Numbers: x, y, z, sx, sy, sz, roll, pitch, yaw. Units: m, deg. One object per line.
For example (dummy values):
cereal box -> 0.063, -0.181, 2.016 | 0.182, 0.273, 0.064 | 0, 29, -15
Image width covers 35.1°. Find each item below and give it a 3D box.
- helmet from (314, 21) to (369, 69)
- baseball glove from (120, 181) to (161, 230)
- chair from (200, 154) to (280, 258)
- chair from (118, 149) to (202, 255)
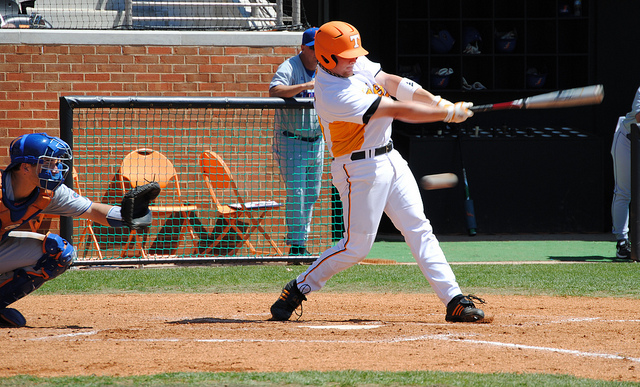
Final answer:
helmet -> 0.271, -1.606, 10.907 | 0.472, 0.434, 0.641 | -23, 32, -29
baseball glove -> -1.980, 0.131, 10.937 | 0.298, 0.591, 0.283 | 22, -2, 43
chair -> -1.061, 0.173, 13.440 | 1.012, 1.344, 0.417 | 1, 4, -7
chair -> -2.160, 0.103, 13.680 | 0.862, 1.559, 1.421 | 2, -1, -9
